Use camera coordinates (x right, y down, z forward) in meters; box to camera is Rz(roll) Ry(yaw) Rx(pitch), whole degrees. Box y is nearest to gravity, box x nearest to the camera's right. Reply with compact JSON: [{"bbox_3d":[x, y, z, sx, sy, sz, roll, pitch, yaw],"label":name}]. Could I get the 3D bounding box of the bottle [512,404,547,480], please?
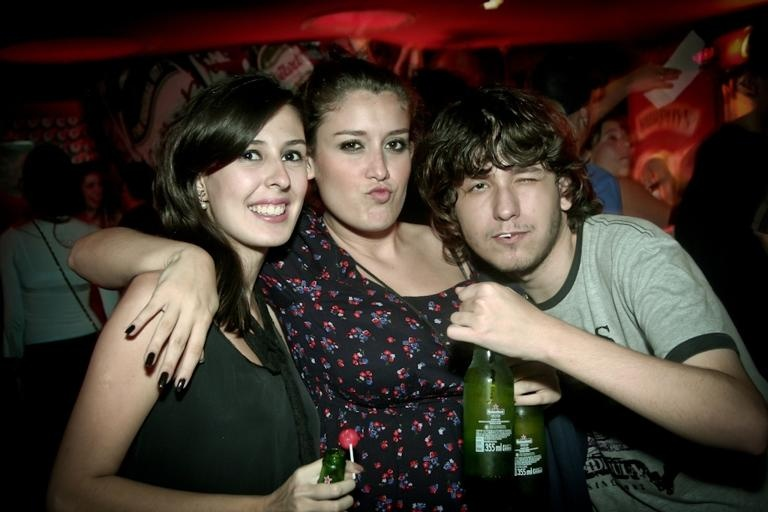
[{"bbox_3d":[0.705,0.901,2.894,0.144,0.312,0.216,0,14,12],"label":"bottle"}]
